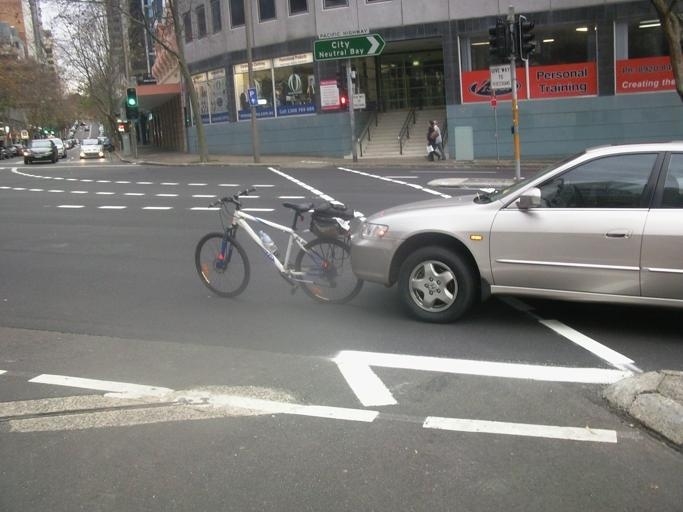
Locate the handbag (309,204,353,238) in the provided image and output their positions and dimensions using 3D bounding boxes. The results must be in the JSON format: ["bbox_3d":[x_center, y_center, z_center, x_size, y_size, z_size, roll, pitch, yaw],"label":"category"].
[{"bbox_3d":[-0.119,-0.375,6.908,0.559,0.458,0.475,9,1,-11],"label":"handbag"}]

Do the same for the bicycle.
[{"bbox_3d":[-0.894,-0.089,7.118,2.172,1.515,1.205,1,23,6],"label":"bicycle"}]

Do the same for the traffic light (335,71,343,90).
[{"bbox_3d":[-0.055,-9.055,28.778,0.273,0.938,0.693,0,11,6],"label":"traffic light"}]

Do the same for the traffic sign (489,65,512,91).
[{"bbox_3d":[6.800,-7.630,23.724,0.616,0.993,1.330,9,16,42],"label":"traffic sign"}]

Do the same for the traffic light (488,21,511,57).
[{"bbox_3d":[4.555,-6.093,15.862,0.527,1.165,0.445,-4,-1,4],"label":"traffic light"}]

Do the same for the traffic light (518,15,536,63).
[{"bbox_3d":[5.314,-6.309,15.974,0.513,1.228,1.110,2,12,19],"label":"traffic light"}]
